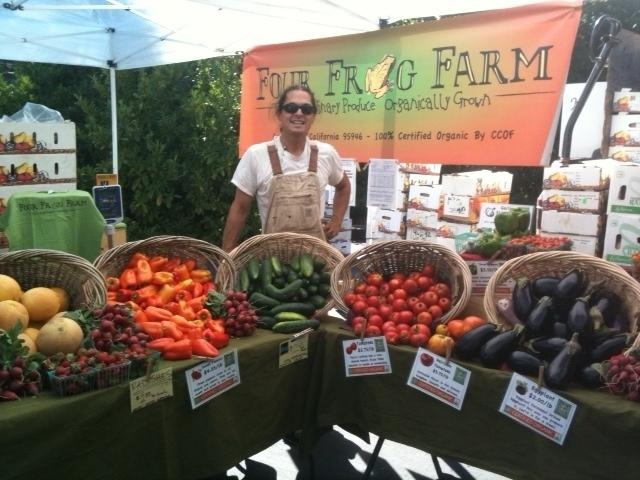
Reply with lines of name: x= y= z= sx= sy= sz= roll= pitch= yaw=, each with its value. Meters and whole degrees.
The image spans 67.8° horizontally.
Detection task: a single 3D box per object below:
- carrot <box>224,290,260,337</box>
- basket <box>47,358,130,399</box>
carrot: x=-0.520 y=0.499 z=3.128 sx=0.185 sy=0.136 sz=0.303 roll=-5 pitch=37 yaw=-24
basket: x=-1.179 y=0.645 z=2.478 sx=0.326 sy=0.144 sz=0.314 roll=15 pitch=17 yaw=42
